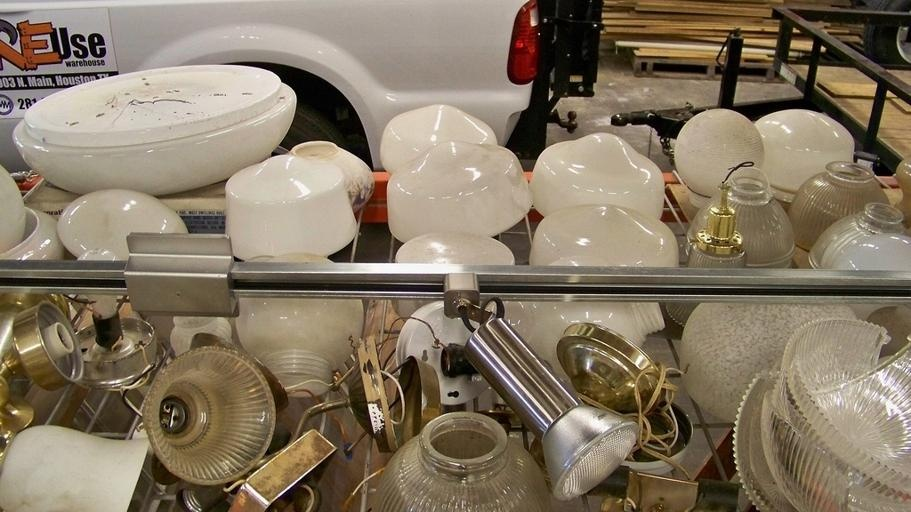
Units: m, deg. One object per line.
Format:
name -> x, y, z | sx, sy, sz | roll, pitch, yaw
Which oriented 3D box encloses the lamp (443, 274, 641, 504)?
lamp -> 0.063, 0.140, 0.880 | 0.155, 0.147, 0.379 | -12, 50, -40
